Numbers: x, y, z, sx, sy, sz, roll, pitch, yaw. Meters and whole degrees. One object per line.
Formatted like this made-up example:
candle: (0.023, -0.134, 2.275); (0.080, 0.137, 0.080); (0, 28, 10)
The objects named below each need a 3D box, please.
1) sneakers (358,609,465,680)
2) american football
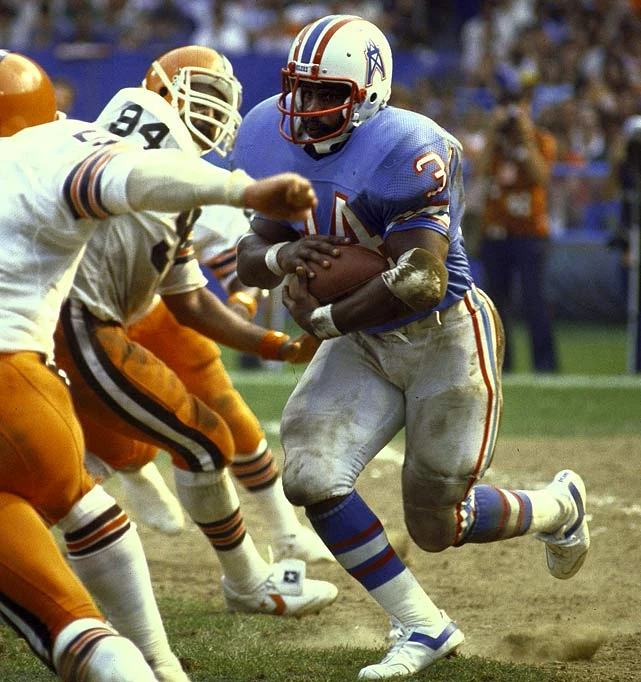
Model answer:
sneakers: (0.275, 0.836, 2.712); (0.355, 0.113, 0.107); (-16, -3, -24)
american football: (0.065, -0.190, 2.597); (0.222, 0.103, 0.134); (-14, 39, -19)
